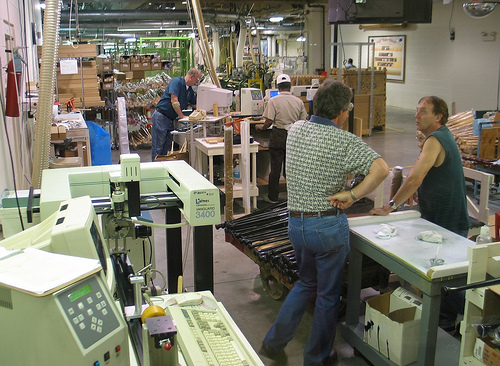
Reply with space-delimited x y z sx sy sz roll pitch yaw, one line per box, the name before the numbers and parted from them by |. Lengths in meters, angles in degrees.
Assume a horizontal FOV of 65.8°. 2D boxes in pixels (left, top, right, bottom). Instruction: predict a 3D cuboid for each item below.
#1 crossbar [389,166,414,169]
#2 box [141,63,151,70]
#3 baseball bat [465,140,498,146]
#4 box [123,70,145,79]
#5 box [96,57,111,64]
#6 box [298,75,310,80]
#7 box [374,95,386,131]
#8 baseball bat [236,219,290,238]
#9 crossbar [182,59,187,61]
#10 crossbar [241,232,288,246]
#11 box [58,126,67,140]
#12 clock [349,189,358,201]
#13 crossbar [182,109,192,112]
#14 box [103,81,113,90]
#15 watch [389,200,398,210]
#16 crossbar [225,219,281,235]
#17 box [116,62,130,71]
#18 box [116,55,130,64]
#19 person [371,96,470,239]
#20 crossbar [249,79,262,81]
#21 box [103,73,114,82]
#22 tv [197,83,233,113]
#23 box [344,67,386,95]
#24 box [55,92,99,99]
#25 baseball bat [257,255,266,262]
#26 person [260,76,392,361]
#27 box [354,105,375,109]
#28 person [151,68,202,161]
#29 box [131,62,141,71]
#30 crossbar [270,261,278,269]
crossbar | 3.203 -0.316 8.074 0.455 0.064 0.202 0 13 13
box | -2.914 -3.217 10.756 0.281 0.193 0.155 0 5 -13
baseball bat | 3.905 -0.667 6.469 0.462 0.092 0.146 3 13 24
box | -3.224 -2.982 10.745 0.526 0.223 0.184 -4 12 -6
box | -3.833 -3.124 10.059 0.348 0.226 0.340 -3 12 -19
box | 1.910 -3.526 12.973 0.121 0.121 0.478 -4 13 -7
box | 4.000 -2.129 11.817 0.377 1.049 0.231 -3 12 0
baseball bat | 0.136 0.444 3.699 0.624 0.104 0.092 -13 34 -15
crossbar | -2.321 -4.298 13.584 0.048 0.056 0.177 7 15 37
crossbar | 0.149 0.516 3.537 0.231 0.069 0.049 -12 54 -22
box | -2.708 -0.702 5.528 0.093 0.126 0.179 -1 36 -21
clock | 0.688 0.082 2.551 0.013 0.055 0.057 -23 31 7
crossbar | -1.408 -1.551 8.397 0.140 0.036 0.364 2 13 19
box | -3.632 -2.431 9.835 0.302 0.229 0.164 -3 7 -26
watch | 1.130 0.176 3.044 0.046 0.066 0.071 -27 37 -4
crossbar | 0.038 0.419 3.903 0.610 0.190 0.103 -4 9 -13
box | -3.553 -3.160 10.638 0.447 0.209 0.235 5 14 33
box | -3.513 -3.376 10.635 0.315 0.210 0.330 1 12 1
person | 1.456 -0.026 3.265 0.758 1.344 0.594 6 27 37
crossbar | 0.174 -2.955 11.164 0.283 0.050 0.505 1 13 17
box | -3.681 -2.702 9.980 0.267 0.218 0.308 -6 13 -16
tv | -0.652 -1.595 7.649 0.588 0.550 0.600 -7 12 21
box | 3.591 -3.052 11.738 1.206 0.825 0.734 -12 15 -38
box | -3.749 -1.891 8.401 0.856 0.112 0.100 -4 12 -5
baseball bat | 0.109 0.647 3.327 0.058 0.046 0.017 -4 -8 39
person | 0.509 0.349 2.710 0.843 2.064 0.378 2 12 20
box | 3.292 -2.178 11.236 0.465 0.115 0.184 -2 12 2
person | -1.475 -1.315 7.574 1.016 1.711 0.890 -6 12 -15
box | -3.162 -3.176 10.659 0.300 0.215 0.164 -2 9 -17
crossbar | 0.206 0.683 3.235 0.047 0.073 0.017 1 -2 23
